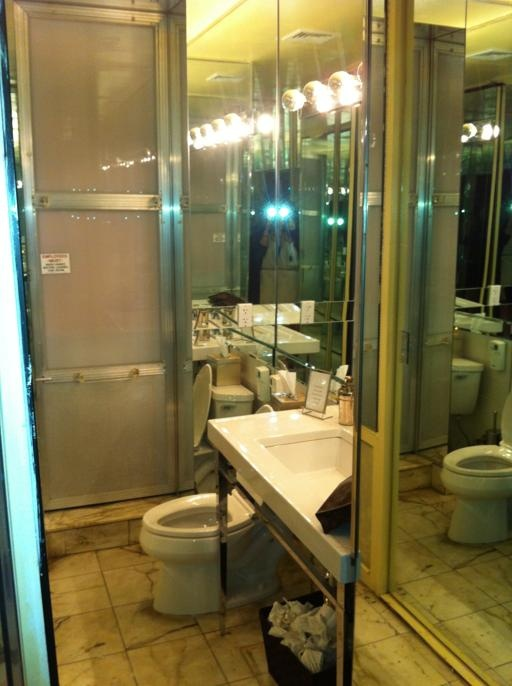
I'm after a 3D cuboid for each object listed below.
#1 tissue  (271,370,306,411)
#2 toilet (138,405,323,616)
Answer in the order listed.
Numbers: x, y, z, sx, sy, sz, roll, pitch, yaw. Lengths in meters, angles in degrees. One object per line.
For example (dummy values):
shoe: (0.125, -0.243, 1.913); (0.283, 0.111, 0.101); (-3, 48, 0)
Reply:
tissue : (0.139, 0.199, 2.365); (0.079, 0.150, 0.148); (-6, 12, -22)
toilet: (-0.120, 0.806, 2.441); (0.681, 0.462, 0.432); (-8, 5, -15)
